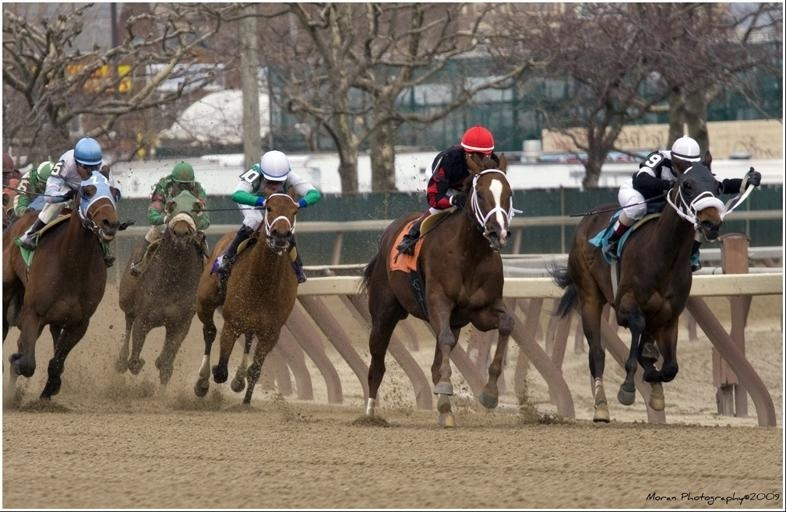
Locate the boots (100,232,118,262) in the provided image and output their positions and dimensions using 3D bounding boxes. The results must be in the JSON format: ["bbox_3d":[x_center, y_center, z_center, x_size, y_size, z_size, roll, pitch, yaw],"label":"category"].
[{"bbox_3d":[-4.291,-0.151,21.080,0.179,0.480,0.293,-6,11,-5],"label":"boots"}]

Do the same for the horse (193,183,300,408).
[{"bbox_3d":[-1.941,0.681,19.235,1.122,3.244,1.979,-5,10,-28],"label":"horse"}]

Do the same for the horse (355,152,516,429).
[{"bbox_3d":[0.625,0.482,18.512,1.011,3.663,2.387,-9,12,-44],"label":"horse"}]

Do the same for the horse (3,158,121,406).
[{"bbox_3d":[-4.671,0.473,19.350,2.208,3.317,1.265,9,12,44],"label":"horse"}]

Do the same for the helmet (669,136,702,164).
[{"bbox_3d":[3.853,-1.408,18.504,0.329,0.249,0.376,2,15,-6],"label":"helmet"}]

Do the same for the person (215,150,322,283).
[{"bbox_3d":[-1.794,-0.610,19.746,1.181,1.534,2.374,2,0,-17],"label":"person"}]

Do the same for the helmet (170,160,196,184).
[{"bbox_3d":[-3.118,-1.256,20.800,0.278,0.294,0.341,3,21,-12],"label":"helmet"}]

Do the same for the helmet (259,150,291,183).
[{"bbox_3d":[-1.598,-1.227,18.995,0.413,0.404,0.390,-2,9,-14],"label":"helmet"}]

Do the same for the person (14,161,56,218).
[{"bbox_3d":[-5.259,-1.002,20.435,0.561,0.941,0.401,2,11,-39],"label":"person"}]

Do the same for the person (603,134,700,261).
[{"bbox_3d":[3.541,-0.699,18.994,0.912,1.123,1.920,22,-18,-21],"label":"person"}]

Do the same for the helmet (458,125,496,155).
[{"bbox_3d":[1.087,-1.536,18.303,0.428,0.354,0.258,2,9,11],"label":"helmet"}]

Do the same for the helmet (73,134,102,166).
[{"bbox_3d":[-4.251,-1.472,19.365,0.326,0.270,0.421,0,36,-29],"label":"helmet"}]

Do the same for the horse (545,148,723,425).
[{"bbox_3d":[3.290,0.436,18.844,1.180,3.531,2.661,-4,10,-24],"label":"horse"}]

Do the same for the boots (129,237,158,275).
[{"bbox_3d":[-3.713,0.013,20.857,0.302,0.546,0.144,13,-12,26],"label":"boots"}]

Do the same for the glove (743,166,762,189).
[{"bbox_3d":[4.737,-1.043,18.480,0.209,0.298,0.681,2,9,15],"label":"glove"}]

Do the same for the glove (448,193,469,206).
[{"bbox_3d":[0.846,-0.727,18.198,0.200,0.209,0.375,0,9,3],"label":"glove"}]
